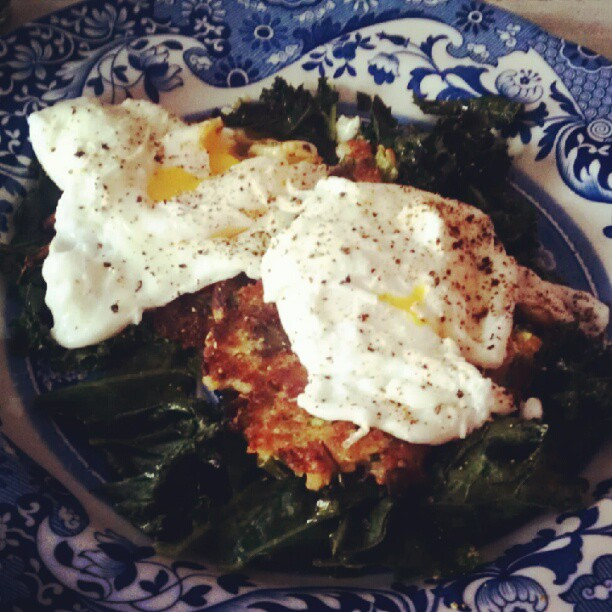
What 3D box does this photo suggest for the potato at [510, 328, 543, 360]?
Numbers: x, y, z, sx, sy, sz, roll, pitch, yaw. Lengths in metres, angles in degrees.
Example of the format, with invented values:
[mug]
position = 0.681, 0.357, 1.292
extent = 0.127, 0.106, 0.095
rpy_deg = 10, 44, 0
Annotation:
[potato]
position = 0.849, 0.153, 3.987
extent = 0.126, 0.066, 0.112
rpy_deg = 14, 67, 11
